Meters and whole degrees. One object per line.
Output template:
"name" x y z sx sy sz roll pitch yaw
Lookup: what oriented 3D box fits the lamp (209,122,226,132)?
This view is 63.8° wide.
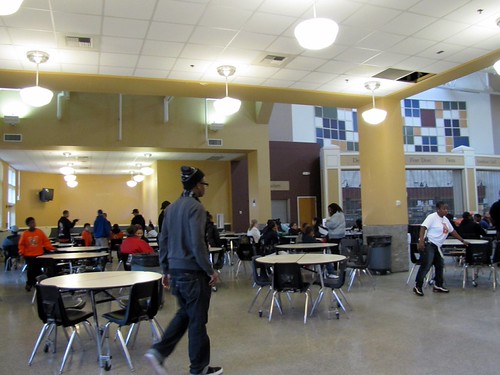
"lamp" -1.174 -2.015 13.394 0.289 0.144 0.340 3 -7 -33

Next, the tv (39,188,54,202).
"tv" -9.421 0.308 18.470 0.327 0.604 0.614 -4 -6 34

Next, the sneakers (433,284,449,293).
"sneakers" 3.694 1.957 7.762 0.309 0.132 0.120 -1 -4 21

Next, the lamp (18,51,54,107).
"lamp" -3.925 -1.907 7.368 0.481 0.897 1.090 -1 -1 -27

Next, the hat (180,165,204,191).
"hat" -0.668 -0.144 4.667 0.226 0.256 0.291 5 24 29

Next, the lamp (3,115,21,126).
"lamp" -6.838 -1.937 11.445 0.308 0.112 0.313 -7 -9 40

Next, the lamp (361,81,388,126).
"lamp" 2.746 -1.881 8.884 0.545 0.931 0.552 4 16 33

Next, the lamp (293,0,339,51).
"lamp" 0.921 -2.182 5.561 0.570 0.509 0.237 -2 -1 7
